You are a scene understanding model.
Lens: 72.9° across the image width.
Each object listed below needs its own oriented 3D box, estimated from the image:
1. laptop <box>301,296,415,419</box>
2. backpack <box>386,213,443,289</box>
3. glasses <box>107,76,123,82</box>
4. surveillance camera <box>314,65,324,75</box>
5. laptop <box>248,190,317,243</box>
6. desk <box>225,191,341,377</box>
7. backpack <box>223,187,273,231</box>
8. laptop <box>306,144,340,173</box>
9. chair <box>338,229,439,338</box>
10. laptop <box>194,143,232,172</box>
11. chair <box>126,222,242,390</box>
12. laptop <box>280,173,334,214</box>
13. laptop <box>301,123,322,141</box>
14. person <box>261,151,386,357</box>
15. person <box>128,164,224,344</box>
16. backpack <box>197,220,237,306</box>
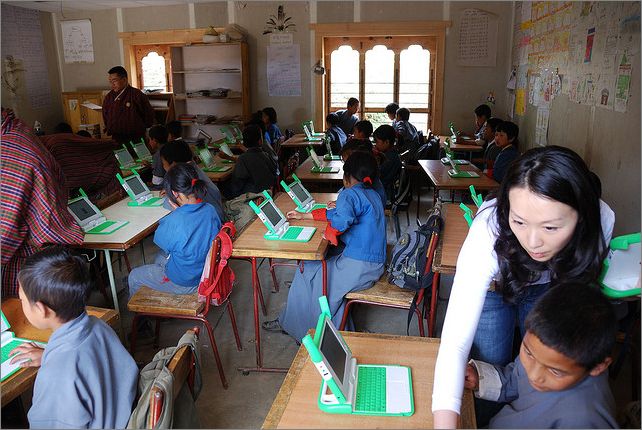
[{"bbox_3d":[0.157,0.529,1.656,0.405,0.389,0.298,1,17,6],"label":"laptop"},{"bbox_3d":[0.624,0.235,2.897,0.290,0.495,0.396,7,15,6],"label":"backpack"},{"bbox_3d":[-2.760,-1.795,5.804,0.183,0.088,0.131,-3,17,-7],"label":"glasses"},{"bbox_3d":[-0.030,-2.462,7.444,0.187,0.149,0.274,-1,17,-1],"label":"surveillance camera"},{"bbox_3d":[-0.266,0.015,3.065,0.446,0.320,0.305,2,25,9],"label":"laptop"},{"bbox_3d":[-0.289,0.617,3.375,0.658,0.818,1.197,-2,3,-2],"label":"desk"},{"bbox_3d":[-0.636,-0.037,3.953,0.422,0.144,0.405,-6,55,32],"label":"backpack"},{"bbox_3d":[-0.005,-0.645,5.150,0.424,0.306,0.291,2,19,7],"label":"laptop"},{"bbox_3d":[0.497,0.308,3.279,0.731,1.120,0.602,7,22,13],"label":"chair"},{"bbox_3d":[-1.388,-0.643,5.393,0.437,0.332,0.449,7,25,2],"label":"laptop"},{"bbox_3d":[-0.929,0.556,2.928,0.657,1.001,0.559,3,9,0],"label":"chair"},{"bbox_3d":[-0.079,-0.169,3.549,0.401,0.277,0.289,0,20,16],"label":"laptop"},{"bbox_3d":[-0.165,-1.394,7.398,0.183,0.208,0.480,1,24,4],"label":"laptop"},{"bbox_3d":[0.057,0.253,3.201,0.867,1.417,0.669,7,10,19],"label":"person"},{"bbox_3d":[-1.059,0.279,3.105,0.676,1.242,0.501,11,15,21],"label":"person"},{"bbox_3d":[-0.683,0.296,2.777,0.208,0.480,0.488,9,18,1],"label":"backpack"}]
